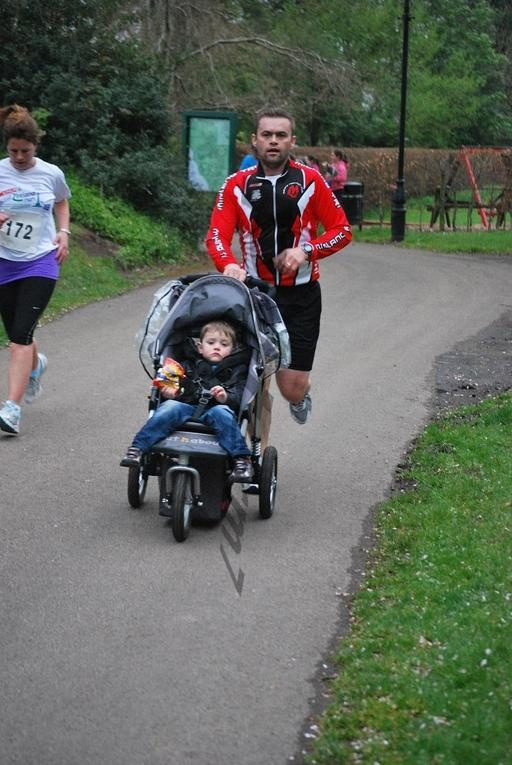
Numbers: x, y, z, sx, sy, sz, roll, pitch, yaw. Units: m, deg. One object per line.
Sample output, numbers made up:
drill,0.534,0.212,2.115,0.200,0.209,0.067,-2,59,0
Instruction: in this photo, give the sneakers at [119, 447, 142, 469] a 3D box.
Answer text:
sneakers,-0.615,0.380,3.784,0.093,0.117,0.181,0,6,-7

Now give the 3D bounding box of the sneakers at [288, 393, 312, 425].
sneakers,0.278,0.195,4.977,0.103,0.263,0.115,-1,19,25

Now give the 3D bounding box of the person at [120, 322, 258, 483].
person,-0.329,0.080,3.990,0.615,0.788,0.692,0,6,0

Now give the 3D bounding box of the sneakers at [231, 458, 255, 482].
sneakers,-0.069,0.444,3.772,0.101,0.124,0.179,0,6,-2

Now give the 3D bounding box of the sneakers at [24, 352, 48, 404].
sneakers,-1.796,-0.020,6.265,0.149,0.416,0.187,10,-7,-2
